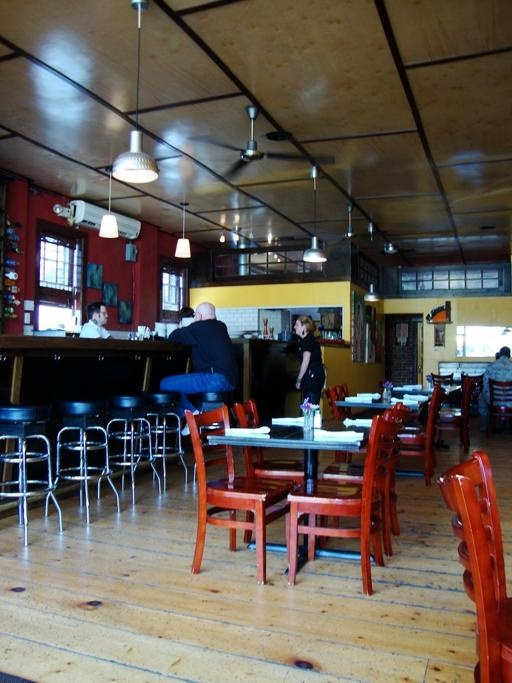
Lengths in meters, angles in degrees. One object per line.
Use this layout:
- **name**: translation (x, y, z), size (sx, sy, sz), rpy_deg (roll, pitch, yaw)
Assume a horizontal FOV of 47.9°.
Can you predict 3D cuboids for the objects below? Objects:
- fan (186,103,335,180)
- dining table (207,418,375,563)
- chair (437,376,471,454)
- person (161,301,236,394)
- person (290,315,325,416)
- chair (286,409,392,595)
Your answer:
- **fan**: translation (0.061, -1.836, 5.773), size (0.754, 0.296, 0.748), rpy_deg (-5, -11, 30)
- **dining table**: translation (0.161, 0.631, 3.016), size (0.762, 0.717, 0.765), rpy_deg (-1, -3, 13)
- **chair**: translation (2.561, 0.889, 7.355), size (0.384, 0.852, 2.161), rpy_deg (-1, -3, 19)
- **person**: translation (-0.524, 0.160, 5.496), size (0.663, 1.056, 0.539), rpy_deg (-3, -7, 13)
- **person**: translation (0.583, 0.219, 6.247), size (0.329, 0.962, 0.700), rpy_deg (0, -2, 5)
- **chair**: translation (0.441, 0.765, 2.977), size (0.537, 0.822, 0.959), rpy_deg (0, -3, 13)
